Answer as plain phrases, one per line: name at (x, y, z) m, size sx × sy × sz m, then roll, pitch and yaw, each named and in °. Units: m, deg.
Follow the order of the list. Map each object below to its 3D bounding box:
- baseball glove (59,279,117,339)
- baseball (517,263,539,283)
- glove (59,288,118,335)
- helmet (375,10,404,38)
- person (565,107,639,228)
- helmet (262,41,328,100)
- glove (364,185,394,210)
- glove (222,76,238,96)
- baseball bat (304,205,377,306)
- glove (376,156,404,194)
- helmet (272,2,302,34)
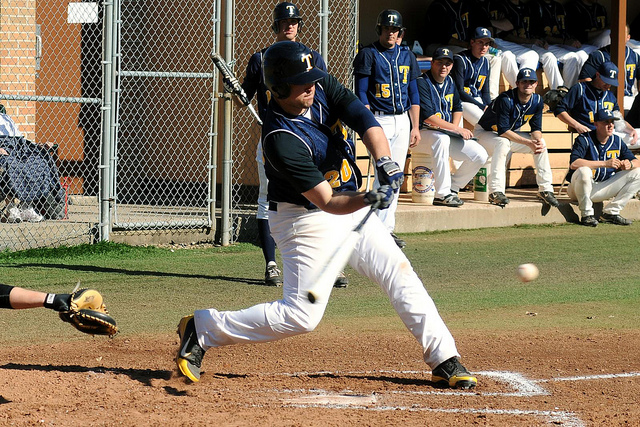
baseball glove at (-2.038, 0.848, 9.124) m, size 0.544 × 0.254 × 0.430 m, roll 16°, pitch 21°, yaw -9°
baseball at (1.953, 0.585, 9.944) m, size 0.172 × 0.197 × 0.282 m, roll 4°, pitch 9°, yaw 11°
glove at (-2.013, 0.868, 9.106) m, size 0.450 × 0.358 × 0.210 m, roll 17°, pitch -24°, yaw -8°
helmet at (0.769, -2.105, 11.519) m, size 0.299 × 0.291 × 0.338 m, roll 1°, pitch 5°, yaw -6°
person at (3.573, -0.573, 13.204) m, size 0.865 × 1.515 × 0.693 m, roll 3°, pitch 9°, yaw 6°
helmet at (-0.228, -1.251, 8.819) m, size 0.584 × 0.463 × 0.450 m, roll 10°, pitch 30°, yaw 31°
glove at (0.505, -0.135, 8.653) m, size 0.139 × 0.197 × 0.320 m, roll 9°, pitch 12°, yaw 37°
glove at (-0.908, -1.313, 10.653) m, size 0.118 × 0.201 × 0.255 m, roll -1°, pitch 10°, yaw -16°
baseball bat at (0.166, 0.351, 9.049) m, size 0.193 × 1.207 × 0.137 m, roll 41°, pitch -16°, yaw -7°
glove at (0.586, -0.322, 8.743) m, size 0.206 × 0.278 × 0.125 m, roll -15°, pitch -8°, yaw -21°
helmet at (-0.334, -1.996, 10.564) m, size 0.283 × 0.320 × 0.288 m, roll 1°, pitch 9°, yaw -4°
